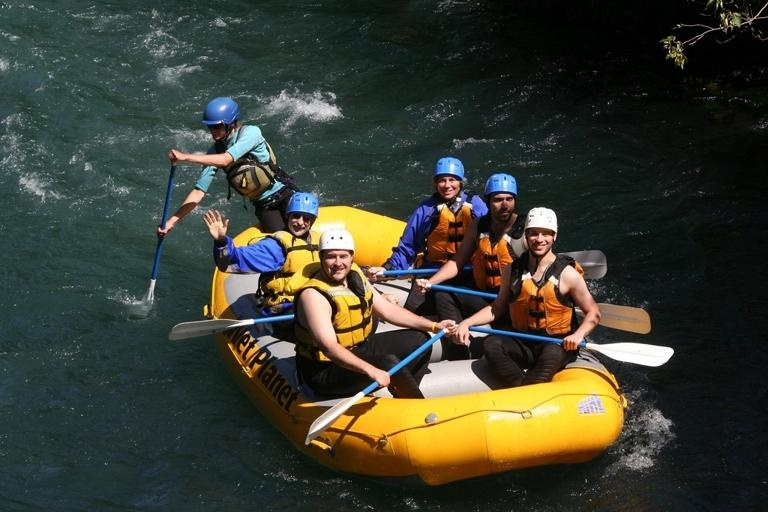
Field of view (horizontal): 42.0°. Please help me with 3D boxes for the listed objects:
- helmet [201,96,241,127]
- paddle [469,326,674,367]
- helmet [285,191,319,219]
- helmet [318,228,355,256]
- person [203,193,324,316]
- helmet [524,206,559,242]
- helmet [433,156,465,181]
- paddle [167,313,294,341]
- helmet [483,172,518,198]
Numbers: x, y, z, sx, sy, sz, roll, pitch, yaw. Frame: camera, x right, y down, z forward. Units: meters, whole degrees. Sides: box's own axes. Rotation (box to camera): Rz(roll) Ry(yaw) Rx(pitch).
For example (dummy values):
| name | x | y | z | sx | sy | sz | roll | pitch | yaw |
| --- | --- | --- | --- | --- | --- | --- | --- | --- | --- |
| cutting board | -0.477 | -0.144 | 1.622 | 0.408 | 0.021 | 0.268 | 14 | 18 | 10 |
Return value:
| name | x | y | z | sx | sy | sz | roll | pitch | yaw |
| --- | --- | --- | --- | --- | --- | --- | --- | --- | --- |
| helmet | -2.125 | -1.904 | 13.264 | 0.467 | 0.230 | 0.338 | -16 | 26 | -41 |
| paddle | 2.193 | 1.116 | 12.153 | 2.419 | 0.312 | 0.150 | 11 | 3 | 4 |
| helmet | -0.990 | -0.567 | 12.405 | 0.297 | 0.393 | 0.316 | 9 | 25 | -5 |
| helmet | -0.521 | -0.142 | 11.463 | 0.274 | 0.328 | 0.280 | 3 | 46 | -2 |
| person | -1.494 | 0.042 | 12.767 | 1.447 | 1.532 | 0.507 | -20 | 23 | -33 |
| helmet | 1.830 | -0.401 | 11.683 | 0.351 | 0.305 | 0.262 | 2 | 33 | 5 |
| helmet | 0.859 | -1.094 | 12.932 | 0.296 | 0.389 | 0.282 | 4 | 59 | 10 |
| paddle | -1.862 | 0.914 | 12.712 | 1.947 | 0.216 | 0.130 | -8 | 16 | 3 |
| helmet | 1.465 | -0.822 | 12.473 | 0.311 | 0.388 | 0.294 | 3 | 47 | -1 |
